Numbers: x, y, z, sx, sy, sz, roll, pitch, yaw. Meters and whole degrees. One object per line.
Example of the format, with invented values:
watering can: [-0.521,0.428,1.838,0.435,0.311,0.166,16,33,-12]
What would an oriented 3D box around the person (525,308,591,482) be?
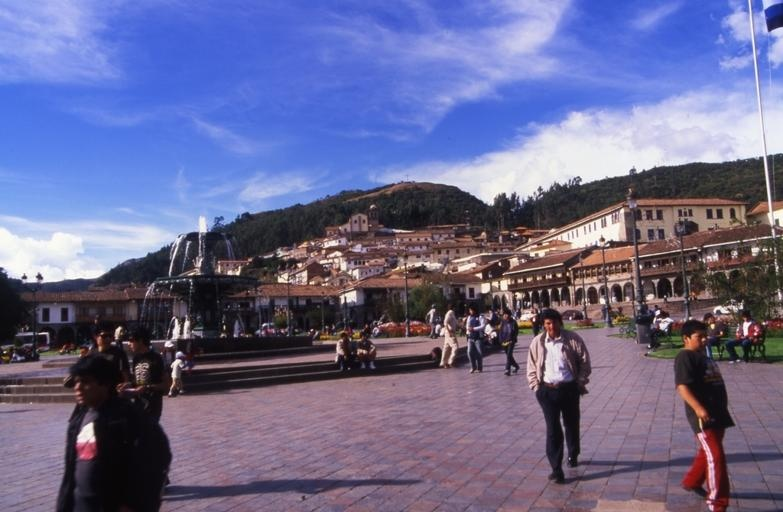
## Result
person: [2.275,1.778,7.475,0.798,2.160,1.022,-7,-7,23]

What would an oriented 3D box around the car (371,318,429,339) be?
car: [0.762,5.135,38.638,4.206,0.997,2.700,-10,-8,33]

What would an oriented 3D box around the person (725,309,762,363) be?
person: [9.992,2.284,15.814,0.889,1.443,0.977,5,-8,-39]

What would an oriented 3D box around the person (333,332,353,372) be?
person: [-1.566,3.180,18.658,0.566,1.299,1.107,-5,-7,-3]

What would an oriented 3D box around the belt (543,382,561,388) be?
belt: [2.119,1.696,7.320,0.222,0.051,0.047,-12,-9,42]

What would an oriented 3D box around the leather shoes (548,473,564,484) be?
leather shoes: [2.072,2.768,6.994,0.194,0.140,0.129,-7,-7,15]

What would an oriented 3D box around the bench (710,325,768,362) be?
bench: [9.975,2.261,15.781,0.818,1.454,0.924,-8,3,-15]

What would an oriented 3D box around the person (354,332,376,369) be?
person: [-0.880,3.309,19.513,0.668,1.281,1.621,-4,-7,-4]

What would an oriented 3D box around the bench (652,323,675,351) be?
bench: [9.757,2.926,20.017,0.664,1.184,0.686,13,-12,6]
